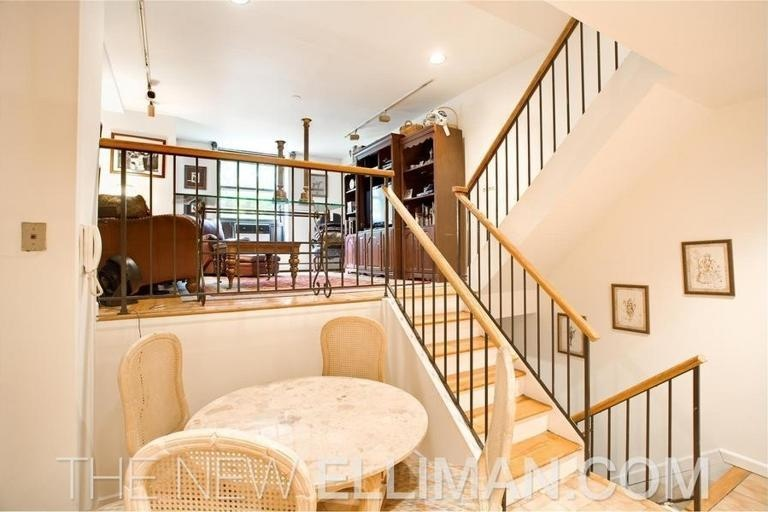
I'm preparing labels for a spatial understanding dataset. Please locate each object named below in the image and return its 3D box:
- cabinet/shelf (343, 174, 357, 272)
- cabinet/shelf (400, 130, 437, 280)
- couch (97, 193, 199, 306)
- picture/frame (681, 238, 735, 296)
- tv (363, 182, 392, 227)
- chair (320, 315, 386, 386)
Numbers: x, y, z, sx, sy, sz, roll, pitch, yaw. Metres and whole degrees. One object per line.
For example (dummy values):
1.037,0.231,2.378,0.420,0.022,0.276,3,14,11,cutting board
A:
-0.616,-0.245,9.908,0.118,0.940,0.236,3,1,30,cabinet/shelf
0.580,-0.679,7.957,0.340,2.028,0.748,0,-3,-41,cabinet/shelf
-2.437,-0.207,6.246,1.431,1.036,1.443,-4,8,-37,couch
3.104,0.107,5.304,0.038,0.736,0.548,-2,0,-43,picture/frame
-0.189,-0.789,8.839,0.075,0.608,0.727,8,14,32,tv
-0.268,0.819,4.952,0.531,0.893,0.570,0,1,3,chair
